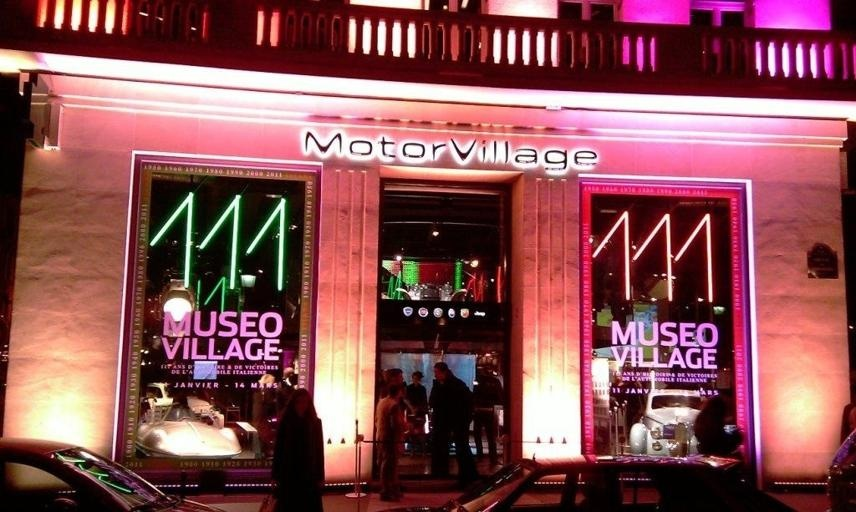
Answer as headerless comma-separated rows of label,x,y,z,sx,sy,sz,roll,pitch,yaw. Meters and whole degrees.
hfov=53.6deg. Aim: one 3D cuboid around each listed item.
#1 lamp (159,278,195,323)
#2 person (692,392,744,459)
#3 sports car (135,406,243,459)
lamp,-4.872,0.859,16.309,0.650,0.798,0.201,-2,-8,-12
person,5.438,3.112,15.926,0.508,1.263,0.953,7,-37,-29
sports car,-4.932,3.614,17.005,2.085,0.718,2.730,6,-5,-27
